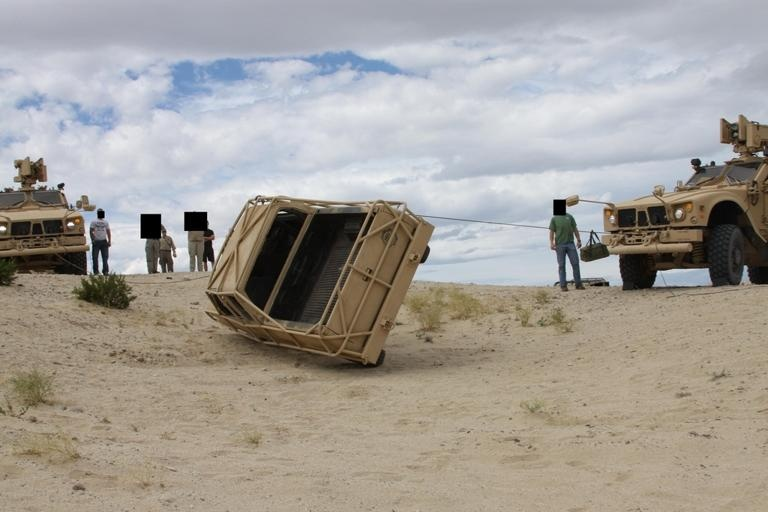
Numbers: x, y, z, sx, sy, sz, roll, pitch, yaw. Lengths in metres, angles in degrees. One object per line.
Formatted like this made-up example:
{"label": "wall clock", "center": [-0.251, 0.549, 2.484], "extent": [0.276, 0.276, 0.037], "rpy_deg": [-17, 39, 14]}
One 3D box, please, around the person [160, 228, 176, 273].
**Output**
{"label": "person", "center": [-5.988, -0.163, 23.872], "extent": [0.408, 0.989, 1.388], "rpy_deg": [-2, -1, -14]}

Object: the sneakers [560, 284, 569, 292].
{"label": "sneakers", "center": [4.407, 0.791, 21.281], "extent": [0.170, 0.205, 0.283], "rpy_deg": [3, -1, 18]}

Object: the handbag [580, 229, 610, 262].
{"label": "handbag", "center": [4.150, -0.172, 16.869], "extent": [0.698, 0.619, 0.346], "rpy_deg": [-10, -13, -17]}

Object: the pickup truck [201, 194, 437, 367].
{"label": "pickup truck", "center": [-1.547, 0.348, 16.525], "extent": [4.637, 2.763, 2.252], "rpy_deg": [5, -23, 48]}
